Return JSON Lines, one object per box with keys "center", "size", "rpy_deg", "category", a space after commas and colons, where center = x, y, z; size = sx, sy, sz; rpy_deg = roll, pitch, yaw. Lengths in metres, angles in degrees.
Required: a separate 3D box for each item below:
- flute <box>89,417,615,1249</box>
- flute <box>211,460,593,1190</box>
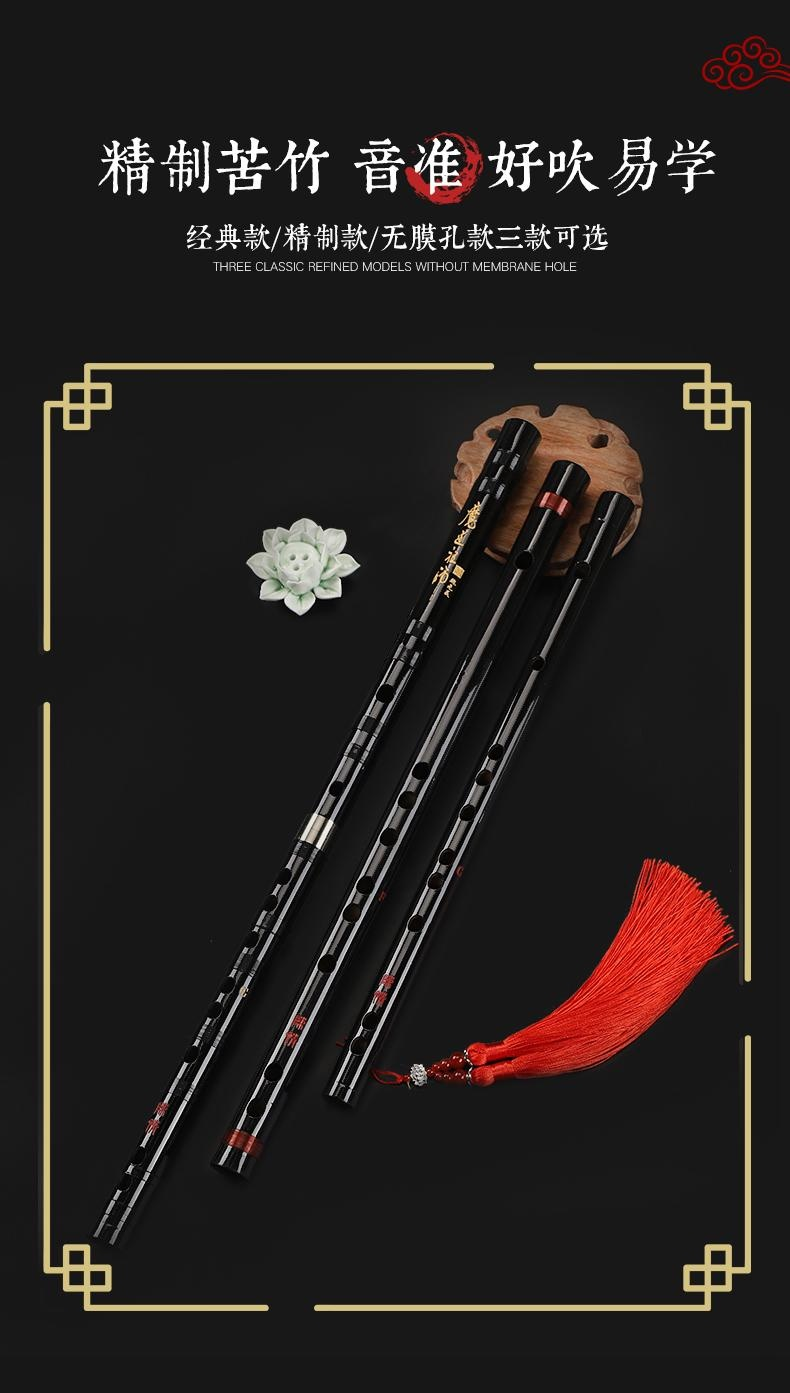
{"center": [-0.055, 0.282, 2.205], "size": [0.106, 0.116, 1.520], "rpy_deg": [30, 88, 19], "category": "flute"}
{"center": [0.022, 0.259, 2.193], "size": [0.100, 0.100, 1.300], "rpy_deg": [28, 80, -8], "category": "flute"}
